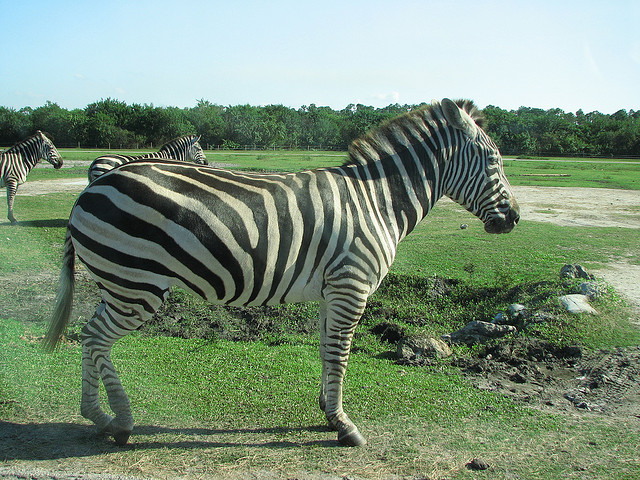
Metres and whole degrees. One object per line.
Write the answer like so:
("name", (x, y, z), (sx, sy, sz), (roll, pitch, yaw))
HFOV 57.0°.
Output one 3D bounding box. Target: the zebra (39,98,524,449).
("zebra", (-0.311, 0.339, 6.766), (5.433, 3.987, 1.649), (0, -3, -6))
